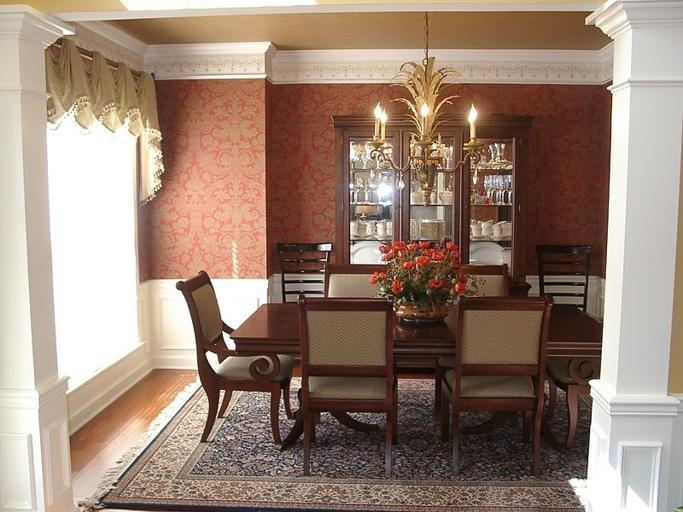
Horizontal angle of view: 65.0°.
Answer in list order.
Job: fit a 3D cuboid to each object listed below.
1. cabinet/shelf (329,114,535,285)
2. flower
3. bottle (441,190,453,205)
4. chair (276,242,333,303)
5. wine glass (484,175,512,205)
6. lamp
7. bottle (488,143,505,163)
[{"bbox_3d":[0.833,-0.541,4.830,1.723,1.601,0.453,0,2,3],"label":"cabinet/shelf"},{"bbox_3d":[0.609,0.114,3.684,0.570,0.313,0.553,-5,9,-28],"label":"flower"},{"bbox_3d":[1.015,-0.571,5.212,0.134,0.113,0.111,-2,5,22],"label":"bottle"},{"bbox_3d":[-0.404,0.190,5.561,0.607,0.907,0.615,0,-4,-1],"label":"chair"},{"bbox_3d":[1.515,-0.631,5.209,0.293,0.302,0.280,-5,5,-39],"label":"wine glass"},{"bbox_3d":[0.585,-1.058,3.684,0.827,1.221,0.698,-4,10,-17],"label":"lamp"},{"bbox_3d":[1.492,-0.998,5.255,0.183,0.175,0.167,-1,-1,2],"label":"bottle"}]
